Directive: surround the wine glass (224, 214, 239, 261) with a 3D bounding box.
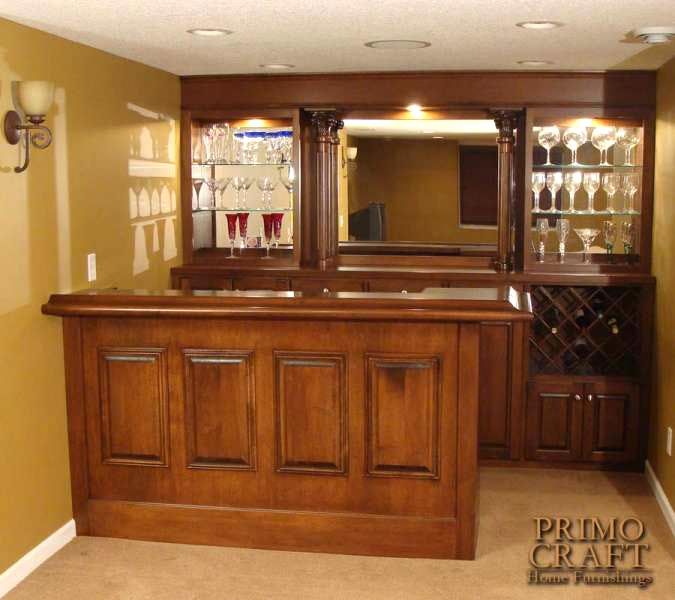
[{"bbox_3d":[-0.728,-0.442,4.442,0.071,0.294,0.115,-1,7,-11],"label":"wine glass"}]

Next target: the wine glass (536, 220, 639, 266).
[{"bbox_3d":[1.553,-0.378,4.138,0.623,0.277,0.174,2,7,9],"label":"wine glass"}]

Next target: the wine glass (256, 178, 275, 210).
[{"bbox_3d":[-0.487,-0.708,4.368,0.109,0.201,0.072,5,8,34],"label":"wine glass"}]

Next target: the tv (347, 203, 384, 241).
[{"bbox_3d":[0.194,-0.524,4.408,0.301,0.303,0.168,3,9,9],"label":"tv"}]

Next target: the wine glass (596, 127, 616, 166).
[{"bbox_3d":[1.655,-0.956,4.047,0.127,0.223,0.067,2,7,10],"label":"wine glass"}]

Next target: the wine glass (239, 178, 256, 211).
[{"bbox_3d":[-0.630,-0.714,4.391,0.106,0.198,0.049,0,7,-5],"label":"wine glass"}]

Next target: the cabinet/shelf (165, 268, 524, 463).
[{"bbox_3d":[0.055,0.334,2.949,1.199,0.622,0.200,0,0,3],"label":"cabinet/shelf"}]

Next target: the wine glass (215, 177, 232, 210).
[{"bbox_3d":[-0.779,-0.741,4.386,0.144,0.176,0.155,0,0,4],"label":"wine glass"}]

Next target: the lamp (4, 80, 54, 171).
[{"bbox_3d":[-1.257,-0.713,2.735,0.192,0.376,0.343,0,7,-4],"label":"lamp"}]

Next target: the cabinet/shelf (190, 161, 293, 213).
[{"bbox_3d":[-0.603,-0.712,4.321,0.771,0.305,0.206,2,-5,21],"label":"cabinet/shelf"}]

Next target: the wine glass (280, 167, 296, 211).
[{"bbox_3d":[-0.332,-0.753,4.328,0.063,0.308,0.172,-3,8,-31],"label":"wine glass"}]

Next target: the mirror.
[{"bbox_3d":[0.543,-0.781,4.309,1.063,0.872,0.374,0,-1,1],"label":"mirror"}]

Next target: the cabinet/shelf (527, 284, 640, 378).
[{"bbox_3d":[1.545,0.186,4.036,0.573,0.535,0.187,1,-1,3],"label":"cabinet/shelf"}]

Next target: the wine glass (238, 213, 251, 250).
[{"bbox_3d":[-0.651,-0.477,4.450,0.077,0.244,0.071,0,7,-7],"label":"wine glass"}]

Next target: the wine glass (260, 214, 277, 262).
[{"bbox_3d":[-0.479,-0.439,4.408,0.085,0.290,0.044,2,7,10],"label":"wine glass"}]

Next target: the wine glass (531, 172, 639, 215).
[{"bbox_3d":[1.536,-0.677,4.061,0.627,0.257,0.114,2,7,12],"label":"wine glass"}]

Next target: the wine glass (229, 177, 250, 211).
[{"bbox_3d":[-0.656,-0.723,4.382,0.174,0.213,0.188,0,-1,5],"label":"wine glass"}]

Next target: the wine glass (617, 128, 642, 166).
[{"bbox_3d":[1.788,-0.948,4.013,0.136,0.226,0.082,2,7,15],"label":"wine glass"}]

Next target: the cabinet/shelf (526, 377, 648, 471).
[{"bbox_3d":[1.537,0.806,4.050,0.688,0.573,0.258,-3,-24,29],"label":"cabinet/shelf"}]
